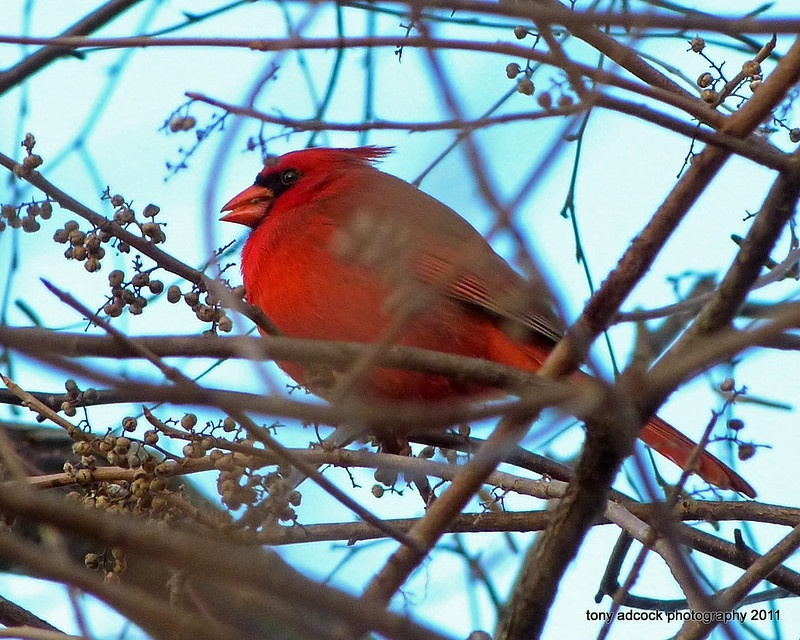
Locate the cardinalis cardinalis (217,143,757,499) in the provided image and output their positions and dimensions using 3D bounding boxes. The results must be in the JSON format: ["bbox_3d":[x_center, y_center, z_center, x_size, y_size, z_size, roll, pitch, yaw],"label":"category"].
[{"bbox_3d":[0.269,-0.073,4.533,2.107,1.163,0.644,7,-18,1],"label":"cardinalis cardinalis"}]
